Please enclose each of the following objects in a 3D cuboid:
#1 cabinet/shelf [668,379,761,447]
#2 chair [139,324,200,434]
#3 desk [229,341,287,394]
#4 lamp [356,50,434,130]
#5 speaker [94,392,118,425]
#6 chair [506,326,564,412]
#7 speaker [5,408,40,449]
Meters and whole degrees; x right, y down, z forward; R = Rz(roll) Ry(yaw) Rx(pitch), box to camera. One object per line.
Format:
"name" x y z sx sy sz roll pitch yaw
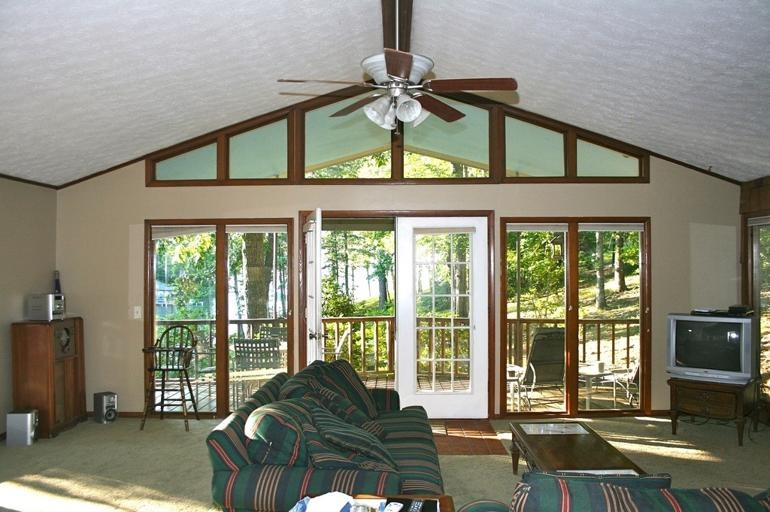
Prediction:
"cabinet/shelf" 3.715 1.730 7.028 0.763 0.573 0.886 -3 -8 36
"chair" -2.650 1.469 7.599 0.663 1.231 0.582 -1 -4 -12
"desk" -1.601 1.407 7.507 0.673 0.971 0.674 5 -26 -15
"lamp" 0.108 -1.447 5.278 0.601 0.525 0.781 -1 -3 -9
"speaker" -3.451 1.866 7.614 0.233 0.364 0.126 0 -4 -28
"chair" 2.241 1.542 8.324 0.938 1.039 1.156 2 -9 -4
"speaker" -4.071 1.936 7.161 0.397 0.444 0.515 0 -4 -7
